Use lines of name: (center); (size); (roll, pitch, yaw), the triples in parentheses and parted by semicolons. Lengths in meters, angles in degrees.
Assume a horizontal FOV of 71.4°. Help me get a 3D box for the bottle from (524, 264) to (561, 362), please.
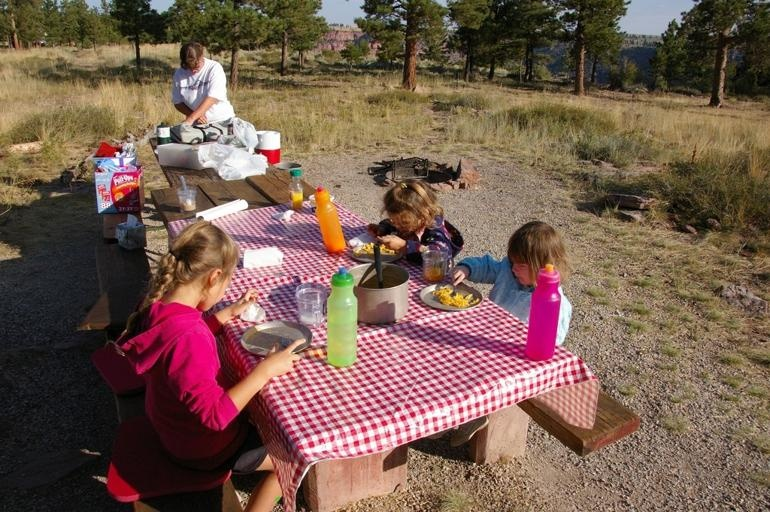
bottle: (1.007, 0.345, 3.361); (0.196, 0.583, 0.241); (10, 22, 17)

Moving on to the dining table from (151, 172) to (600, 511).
dining table: (-0.220, 0.980, 3.876); (1.748, 1.644, 2.859); (-17, 30, -42)

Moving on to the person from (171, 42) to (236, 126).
person: (-2.607, -2.452, 7.669); (0.767, 1.100, 1.105); (-7, 23, -24)

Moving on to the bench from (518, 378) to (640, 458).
bench: (1.362, 1.102, 3.499); (0.434, 0.115, 0.479); (-16, 35, -25)

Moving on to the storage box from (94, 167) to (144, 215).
storage box: (-2.806, -0.695, 5.800); (0.464, 0.487, 0.488); (0, 28, -13)

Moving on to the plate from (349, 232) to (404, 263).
plate: (-0.129, -0.042, 4.245); (0.249, 0.035, 0.257); (-18, 43, -36)

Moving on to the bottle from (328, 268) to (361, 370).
bottle: (-0.265, 0.381, 3.303); (0.189, 0.593, 0.178); (3, 20, -1)

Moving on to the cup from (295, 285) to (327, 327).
cup: (-0.482, 0.317, 3.619); (0.234, 0.272, 0.234); (2, 10, 0)

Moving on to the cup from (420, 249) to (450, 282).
cup: (0.361, 0.062, 4.048); (0.210, 0.196, 0.208); (3, 30, -2)

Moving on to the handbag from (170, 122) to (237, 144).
handbag: (-2.349, -1.574, 6.909); (0.563, 0.208, 0.379); (-13, 24, -38)

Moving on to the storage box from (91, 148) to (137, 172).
storage box: (-2.848, -0.984, 5.744); (0.283, 0.114, 0.319); (-2, 25, -7)

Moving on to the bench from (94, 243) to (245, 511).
bench: (-2.083, 0.987, 5.745); (1.279, 0.802, 3.271); (-14, 56, -20)
